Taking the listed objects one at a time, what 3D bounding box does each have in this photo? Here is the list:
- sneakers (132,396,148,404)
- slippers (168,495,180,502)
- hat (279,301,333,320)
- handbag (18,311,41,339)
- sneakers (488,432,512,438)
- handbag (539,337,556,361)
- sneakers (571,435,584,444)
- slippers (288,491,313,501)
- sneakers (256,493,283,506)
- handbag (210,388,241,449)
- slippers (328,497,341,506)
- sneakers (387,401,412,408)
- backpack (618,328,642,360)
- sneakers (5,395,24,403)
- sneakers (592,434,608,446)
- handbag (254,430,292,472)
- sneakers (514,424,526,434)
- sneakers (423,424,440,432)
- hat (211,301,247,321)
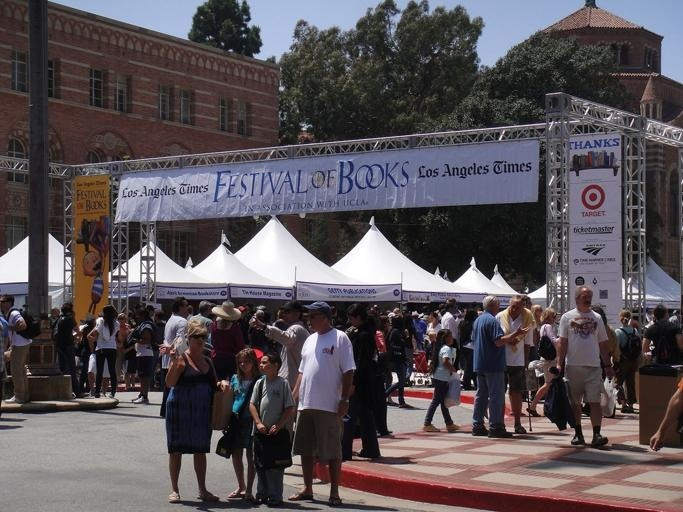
[{"bbox_3d":[-4.989,3.600,30.298,0.453,0.196,0.157,3,-5,2],"label":"sneakers"},{"bbox_3d":[-2.881,4.198,21.078,0.200,0.159,0.172,1,-5,-11],"label":"slippers"},{"bbox_3d":[-0.710,0.975,22.419,0.701,0.372,0.452,-4,0,4],"label":"hat"},{"bbox_3d":[-7.234,1.660,28.353,0.600,0.635,0.432,0,3,-29],"label":"handbag"},{"bbox_3d":[3.215,3.670,24.877,0.489,0.213,0.166,-1,-3,2],"label":"sneakers"},{"bbox_3d":[4.334,1.962,25.718,0.238,0.489,0.450,0,-11,-19],"label":"handbag"},{"bbox_3d":[4.664,3.658,24.103,0.264,0.209,0.267,-1,-5,9],"label":"sneakers"},{"bbox_3d":[-0.718,4.266,21.581,0.398,0.126,0.158,2,-9,0],"label":"slippers"},{"bbox_3d":[-1.266,4.250,21.247,0.404,0.177,0.213,10,-11,9],"label":"sneakers"},{"bbox_3d":[-2.014,2.818,21.283,0.333,0.974,1.027,3,-3,10],"label":"handbag"},{"bbox_3d":[-0.129,4.314,21.313,0.234,0.161,0.128,0,-5,2],"label":"slippers"},{"bbox_3d":[1.439,3.713,30.095,0.634,0.257,0.195,-5,-8,25],"label":"sneakers"},{"bbox_3d":[6.495,2.021,27.926,0.490,0.695,0.678,0,-4,-9],"label":"backpack"},{"bbox_3d":[-7.661,3.366,28.486,0.373,0.150,0.152,1,-4,6],"label":"sneakers"},{"bbox_3d":[5.003,3.606,23.721,0.305,0.235,0.281,-1,-5,13],"label":"sneakers"},{"bbox_3d":[-1.206,3.375,21.153,0.638,0.715,0.231,0,-5,-5],"label":"handbag"},{"bbox_3d":[3.705,3.636,25.462,0.263,0.184,0.139,-10,-10,42],"label":"sneakers"},{"bbox_3d":[1.920,3.700,26.013,0.357,0.152,0.267,1,-5,-14],"label":"sneakers"},{"bbox_3d":[-2.412,1.145,25.451,0.533,0.422,1.028,1,-5,-6],"label":"hat"}]
